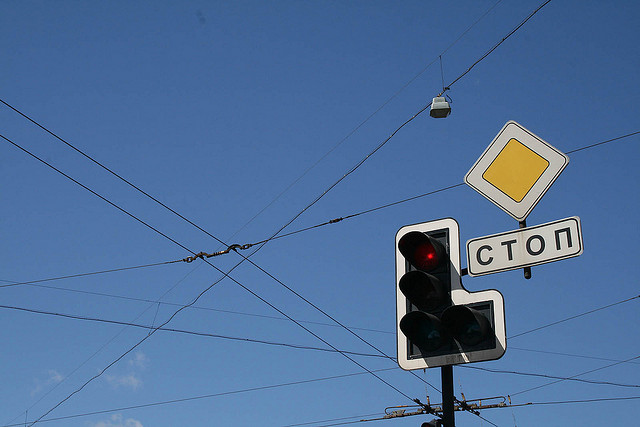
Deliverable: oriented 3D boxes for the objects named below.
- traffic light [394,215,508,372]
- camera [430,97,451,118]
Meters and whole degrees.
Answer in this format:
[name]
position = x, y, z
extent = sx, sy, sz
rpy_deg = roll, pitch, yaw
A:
[traffic light]
position = 1.206, 0.755, 7.554
extent = 1.009, 1.503, 0.503
rpy_deg = -9, -28, 19
[camera]
position = 1.727, -1.533, 11.341
extent = 0.258, 0.365, 0.330
rpy_deg = 6, -49, 3
